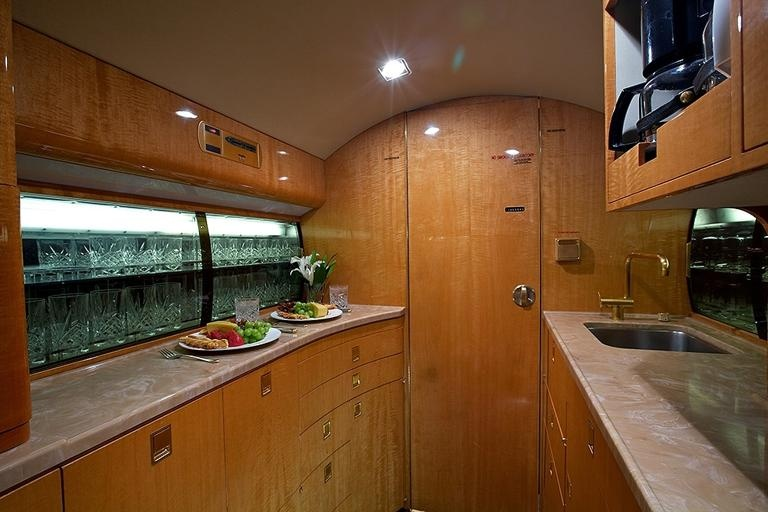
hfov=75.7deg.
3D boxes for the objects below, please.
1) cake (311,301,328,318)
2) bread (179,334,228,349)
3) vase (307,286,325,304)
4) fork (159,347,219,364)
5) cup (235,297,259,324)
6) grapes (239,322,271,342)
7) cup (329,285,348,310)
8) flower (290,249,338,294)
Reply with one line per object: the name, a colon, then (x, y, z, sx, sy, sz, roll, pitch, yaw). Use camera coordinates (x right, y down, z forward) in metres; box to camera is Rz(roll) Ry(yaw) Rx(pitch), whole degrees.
cake: (-0.378, 0.313, 2.900, 0.087, 0.031, 0.084, 3, 9, 6)
bread: (-0.852, 0.402, 2.325, 0.263, 0.066, 0.101, -3, 0, 26)
vase: (-0.457, 0.260, 3.292, 0.124, 0.120, 0.118, 1, -7, -13)
fork: (-0.907, 0.451, 2.235, 0.373, 0.067, 0.092, -3, 0, 34)
cup: (-0.709, 0.282, 2.618, 0.131, 0.116, 0.114, 0, 0, 0)
grapes: (-0.640, 0.375, 2.450, 0.065, 0.070, 0.183, 7, 2, 12)
cup: (-0.285, 0.269, 3.170, 0.106, 0.159, 0.111, -4, 1, 0)
flower: (-0.469, 0.107, 3.270, 0.283, 0.176, 0.271, -2, -6, -7)
